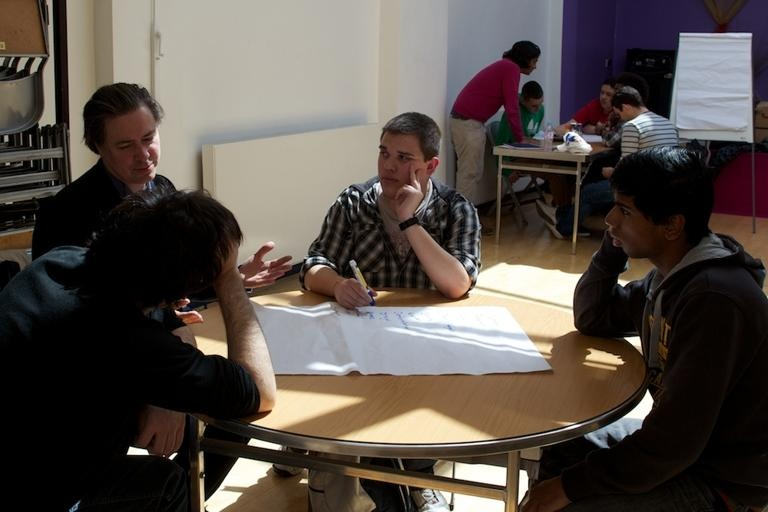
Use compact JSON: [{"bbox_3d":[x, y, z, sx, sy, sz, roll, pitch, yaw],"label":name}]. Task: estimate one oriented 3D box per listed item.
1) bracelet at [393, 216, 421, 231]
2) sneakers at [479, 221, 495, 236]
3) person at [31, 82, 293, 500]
[{"bbox_3d":[0.103,-0.138,2.340,0.073,0.053,0.071,-25,-15,12],"label":"bracelet"},{"bbox_3d":[1.065,-0.290,5.897,0.156,0.074,0.196,7,21,14],"label":"sneakers"},{"bbox_3d":[-1.041,0.212,2.505,0.971,1.849,0.772,8,11,17],"label":"person"}]
